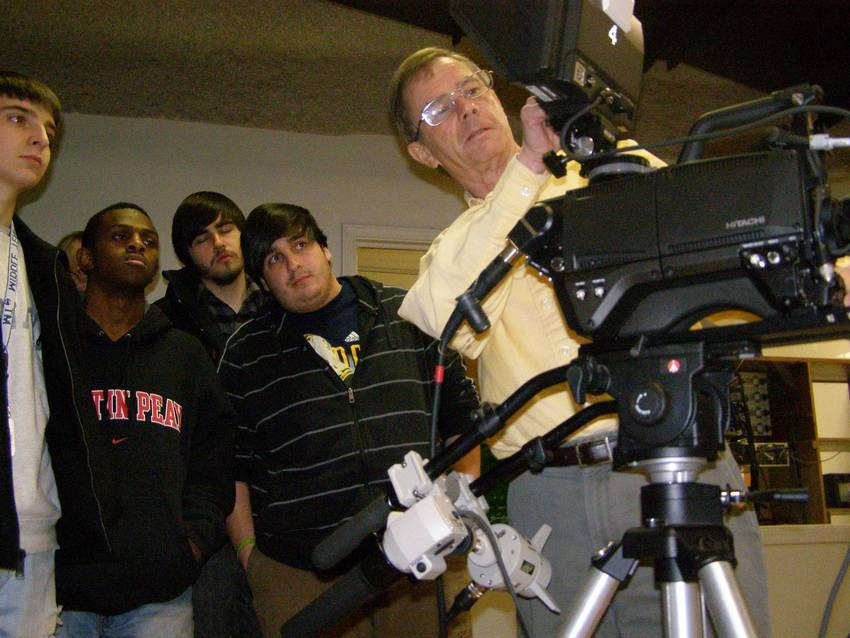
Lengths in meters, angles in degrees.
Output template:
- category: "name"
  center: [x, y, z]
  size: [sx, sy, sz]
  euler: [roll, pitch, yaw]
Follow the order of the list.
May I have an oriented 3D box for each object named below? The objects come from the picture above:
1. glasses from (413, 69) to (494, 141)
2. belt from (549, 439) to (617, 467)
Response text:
- category: "glasses"
  center: [0.081, -0.608, 2.110]
  size: [0.176, 0.056, 0.180]
  euler: [-37, 3, -30]
- category: "belt"
  center: [0.373, 0.300, 1.608]
  size: [0.075, 0.068, 0.254]
  euler: [0, -7, -21]
